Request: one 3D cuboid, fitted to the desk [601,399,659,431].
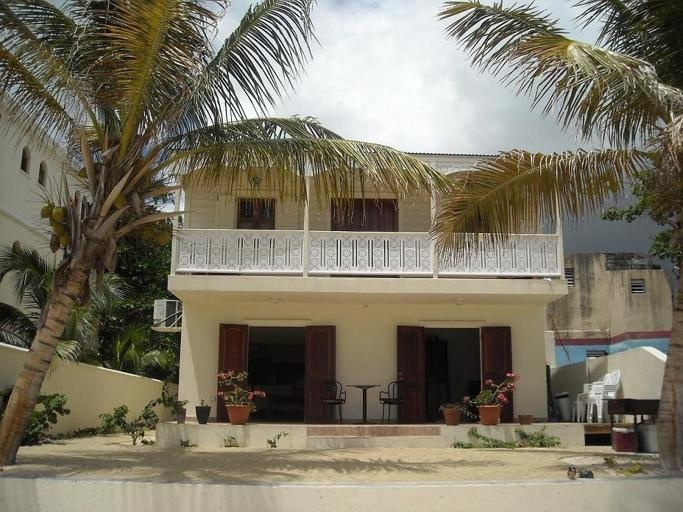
[{"bbox_3d":[5.215,2.702,11.783,0.932,0.635,0.778,3,-9,-18],"label":"desk"}]

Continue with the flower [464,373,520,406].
[{"bbox_3d":[3.581,3.203,15.520,1.132,0.931,1.158,-1,-3,-34],"label":"flower"}]

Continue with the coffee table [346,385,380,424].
[{"bbox_3d":[0.590,3.460,15.981,0.967,1.196,1.076,-3,-6,11],"label":"coffee table"}]

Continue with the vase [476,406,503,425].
[{"bbox_3d":[3.336,3.582,14.692,0.405,0.321,0.432,1,-16,1],"label":"vase"}]

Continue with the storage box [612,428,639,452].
[{"bbox_3d":[5.288,3.408,12.171,0.485,0.412,0.381,-9,-17,29],"label":"storage box"}]

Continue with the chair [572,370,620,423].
[{"bbox_3d":[6.030,3.298,15.381,0.825,1.258,1.430,0,-14,6],"label":"chair"}]

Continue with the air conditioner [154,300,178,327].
[{"bbox_3d":[-5.420,1.784,20.150,0.715,1.152,0.805,-1,-6,6],"label":"air conditioner"}]

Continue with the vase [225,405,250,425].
[{"bbox_3d":[-2.193,3.376,14.161,0.424,0.307,0.454,0,-21,-2],"label":"vase"}]
